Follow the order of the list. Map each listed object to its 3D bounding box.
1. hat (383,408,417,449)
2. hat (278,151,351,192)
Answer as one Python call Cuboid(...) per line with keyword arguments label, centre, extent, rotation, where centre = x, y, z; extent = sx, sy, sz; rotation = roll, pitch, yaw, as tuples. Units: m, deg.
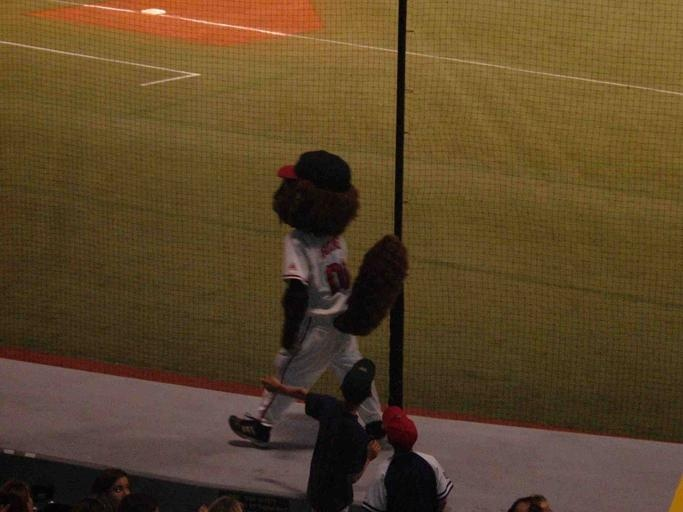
Cuboid(label="hat", centre=(0.492, 1.414, 8.446), extent=(0.270, 0.328, 0.215), rotation=(-7, -14, -11))
Cuboid(label="hat", centre=(-0.203, -0.840, 9.283), extent=(0.717, 0.300, 0.476), rotation=(15, 21, 9))
